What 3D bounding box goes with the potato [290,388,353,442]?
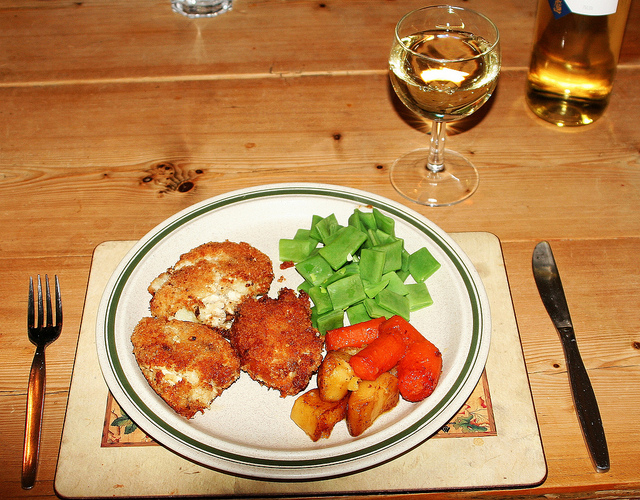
[{"bbox_3d":[0.024,0.603,2.358,0.174,0.297,0.098,11,106,29],"label":"potato"}]
